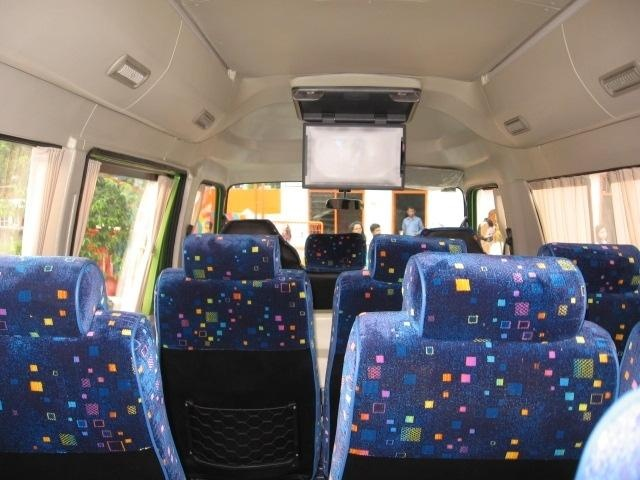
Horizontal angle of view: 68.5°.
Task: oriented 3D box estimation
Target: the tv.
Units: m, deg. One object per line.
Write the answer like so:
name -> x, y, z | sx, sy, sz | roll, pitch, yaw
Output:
tv -> 0.324, -0.855, 4.950 | 0.935, 0.687, 0.242 | 1, 7, 1
